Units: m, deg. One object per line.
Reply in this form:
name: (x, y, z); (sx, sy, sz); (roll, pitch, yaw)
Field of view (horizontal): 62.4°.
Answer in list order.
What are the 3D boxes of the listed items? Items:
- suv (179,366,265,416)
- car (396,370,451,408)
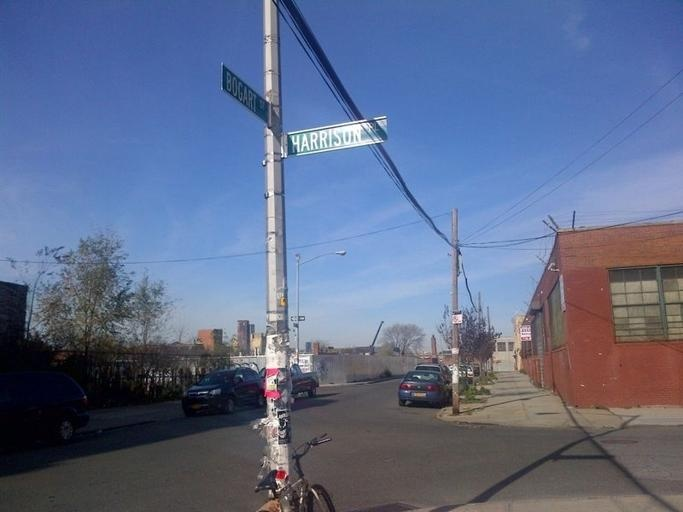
suv: (-4.612, 5.253, 22.303); (1.305, 1.774, 3.393); (-9, -14, 30)
car: (3.457, 5.693, 24.427); (1.977, 1.572, 1.584); (-4, -12, 7)
